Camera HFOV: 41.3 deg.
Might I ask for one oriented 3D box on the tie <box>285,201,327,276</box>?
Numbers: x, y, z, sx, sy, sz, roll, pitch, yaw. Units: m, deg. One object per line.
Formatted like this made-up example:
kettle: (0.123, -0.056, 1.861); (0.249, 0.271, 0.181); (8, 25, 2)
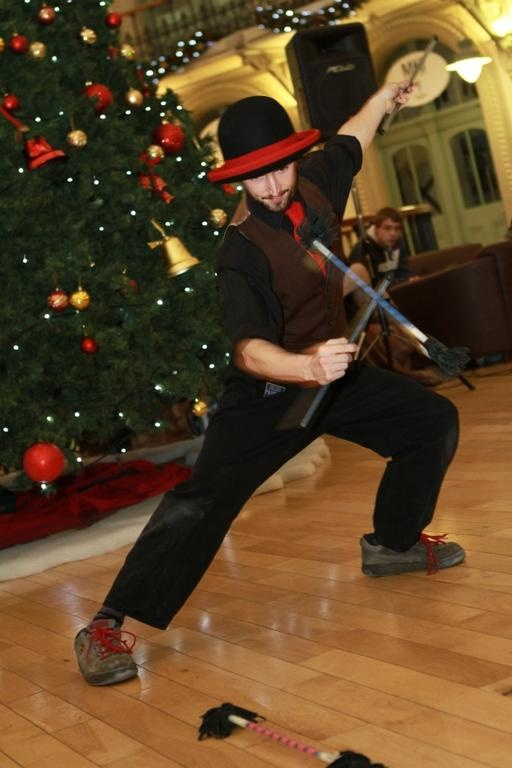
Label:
tie: (0.104, -0.319, 1.450); (0.051, 0.179, 0.281); (-18, 8, 7)

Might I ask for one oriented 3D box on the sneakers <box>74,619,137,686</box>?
sneakers: (-0.344, 0.616, 1.565); (0.096, 0.088, 0.207); (-4, -8, -25)

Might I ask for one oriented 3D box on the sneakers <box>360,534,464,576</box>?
sneakers: (0.400, 0.441, 1.843); (0.298, 0.107, 0.106); (-5, 0, 1)
